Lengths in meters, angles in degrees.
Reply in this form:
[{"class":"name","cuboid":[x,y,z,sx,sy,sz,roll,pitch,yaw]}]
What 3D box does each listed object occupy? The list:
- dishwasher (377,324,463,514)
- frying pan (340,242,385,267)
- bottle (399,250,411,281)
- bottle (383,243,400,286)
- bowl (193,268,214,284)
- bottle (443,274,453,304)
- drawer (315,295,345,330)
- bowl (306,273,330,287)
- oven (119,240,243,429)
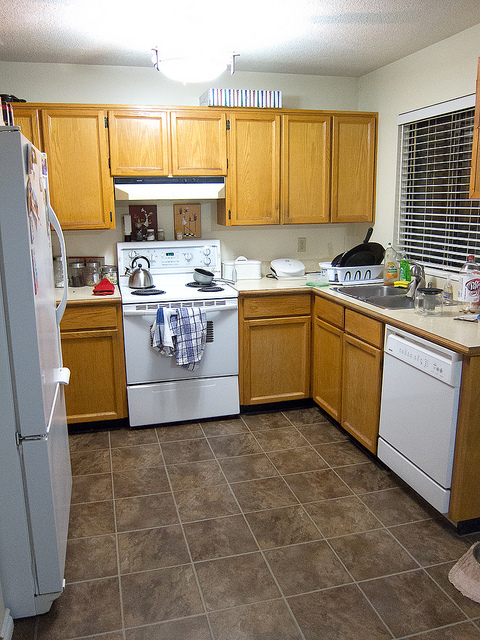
[{"class":"dishwasher","cuboid":[0.747,0.398,1.971,0.090,0.705,0.605,-1,8,-5]},{"class":"frying pan","cuboid":[0.805,-0.428,3.003,0.317,0.150,0.067,-3,8,-18]},{"class":"bottle","cuboid":[1.090,-0.359,3.007,0.068,0.182,0.273,2,8,21]},{"class":"bottle","cuboid":[1.007,-0.376,3.048,0.102,0.267,0.368,2,8,17]},{"class":"bowl","cuboid":[-0.251,-0.294,3.023,0.092,0.066,0.102,35,16,25]},{"class":"bottle","cuboid":[1.087,-0.150,2.388,0.047,0.128,0.124,3,8,26]},{"class":"drawer","cuboid":[0.544,-0.052,2.758,0.126,0.127,0.227,0,17,-14]},{"class":"bowl","cuboid":[0.539,-0.285,3.210,0.101,0.067,0.174,-2,9,-5]},{"class":"oven","cuboid":[-0.386,0.059,3.046,0.761,1.179,0.716,-3,8,-17]}]
